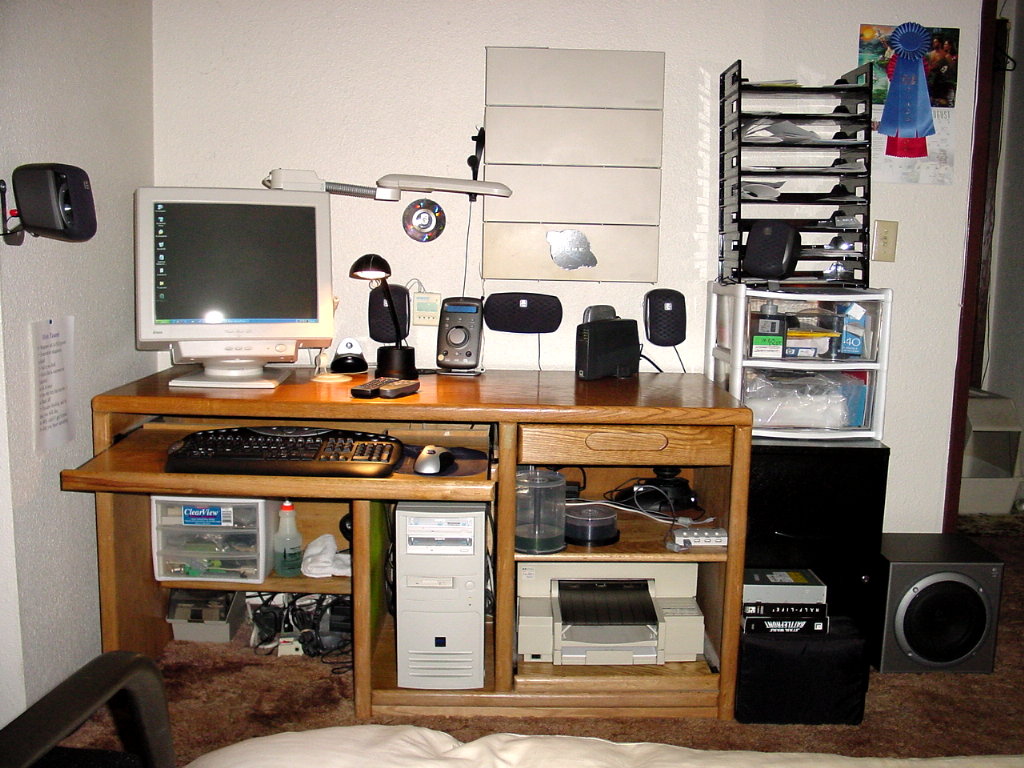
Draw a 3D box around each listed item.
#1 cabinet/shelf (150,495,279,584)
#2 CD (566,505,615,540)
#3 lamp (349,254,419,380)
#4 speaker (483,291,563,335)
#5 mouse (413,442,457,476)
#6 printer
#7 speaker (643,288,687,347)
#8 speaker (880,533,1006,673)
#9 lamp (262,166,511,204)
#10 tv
[{"bbox_3d":[-1.033,0.553,2.884,0.369,0.294,0.217,7,-32,-32],"label":"cabinet/shelf"},{"bbox_3d":[0.244,0.433,2.824,0.112,0.056,0.111,0,7,-5],"label":"CD"},{"bbox_3d":[-0.431,-0.233,2.974,0.206,0.402,0.406,0,6,-8],"label":"lamp"},{"bbox_3d":[0.038,-0.252,3.137,0.279,0.152,0.066,0,6,-3],"label":"speaker"},{"bbox_3d":[-0.226,0.228,2.647,0.092,0.073,0.168,4,7,31],"label":"mouse"},{"bbox_3d":[0.311,0.724,3.013,0.667,0.290,0.526,-2,12,-7],"label":"printer"},{"bbox_3d":[0.546,-0.236,3.162,0.158,0.220,0.113,1,-6,-10],"label":"speaker"},{"bbox_3d":[1.390,0.749,3.070,0.421,0.432,0.422,-1,6,2],"label":"speaker"},{"bbox_3d":[-0.428,-0.689,3.039,0.867,0.103,0.333,-1,7,-12],"label":"lamp"},{"bbox_3d":[-0.886,-0.314,2.964,0.639,0.635,0.397,1,4,6],"label":"tv"}]
